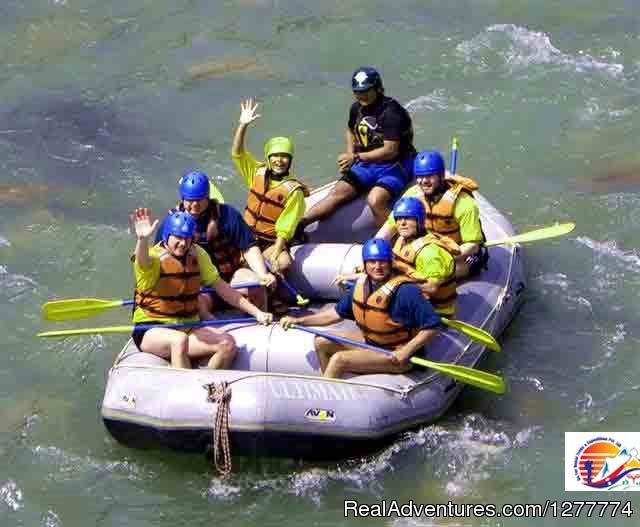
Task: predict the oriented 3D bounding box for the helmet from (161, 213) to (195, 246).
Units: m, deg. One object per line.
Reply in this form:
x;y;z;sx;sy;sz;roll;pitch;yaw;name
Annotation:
-1.232;-0.297;9.940;0.228;0.242;0.288;-2;18;-21;helmet

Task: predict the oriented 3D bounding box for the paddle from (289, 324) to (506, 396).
0.592;0.841;9.975;1.791;0.133;0.196;15;17;7;paddle

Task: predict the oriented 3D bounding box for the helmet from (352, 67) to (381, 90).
0.442;-1.742;11.073;0.210;0.216;0.263;25;41;27;helmet

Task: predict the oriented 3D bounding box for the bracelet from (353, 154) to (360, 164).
0.354;-1.004;11.331;0.060;0.075;0.031;-1;11;-3;bracelet

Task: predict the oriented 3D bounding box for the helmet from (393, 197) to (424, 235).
0.766;-0.410;10.017;0.241;0.276;0.305;4;17;17;helmet

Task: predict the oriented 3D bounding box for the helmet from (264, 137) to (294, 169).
-0.387;-1.049;10.845;0.241;0.267;0.284;-2;36;-6;helmet

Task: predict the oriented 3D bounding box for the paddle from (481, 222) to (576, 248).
2.041;-0.258;11.417;0.825;0.075;0.176;-9;21;-16;paddle

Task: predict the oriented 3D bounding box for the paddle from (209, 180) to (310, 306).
-0.486;-0.177;10.585;0.277;0.793;1.233;-7;73;-48;paddle

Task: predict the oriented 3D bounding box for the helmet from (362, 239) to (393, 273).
0.477;-0.086;9.747;0.190;0.186;0.246;-1;-10;3;helmet

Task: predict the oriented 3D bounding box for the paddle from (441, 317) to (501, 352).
1.309;0.637;10.301;0.505;0.103;0.071;30;21;5;paddle

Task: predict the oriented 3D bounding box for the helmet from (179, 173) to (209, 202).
-1.113;-0.662;10.276;0.212;0.208;0.270;-3;12;-4;helmet
